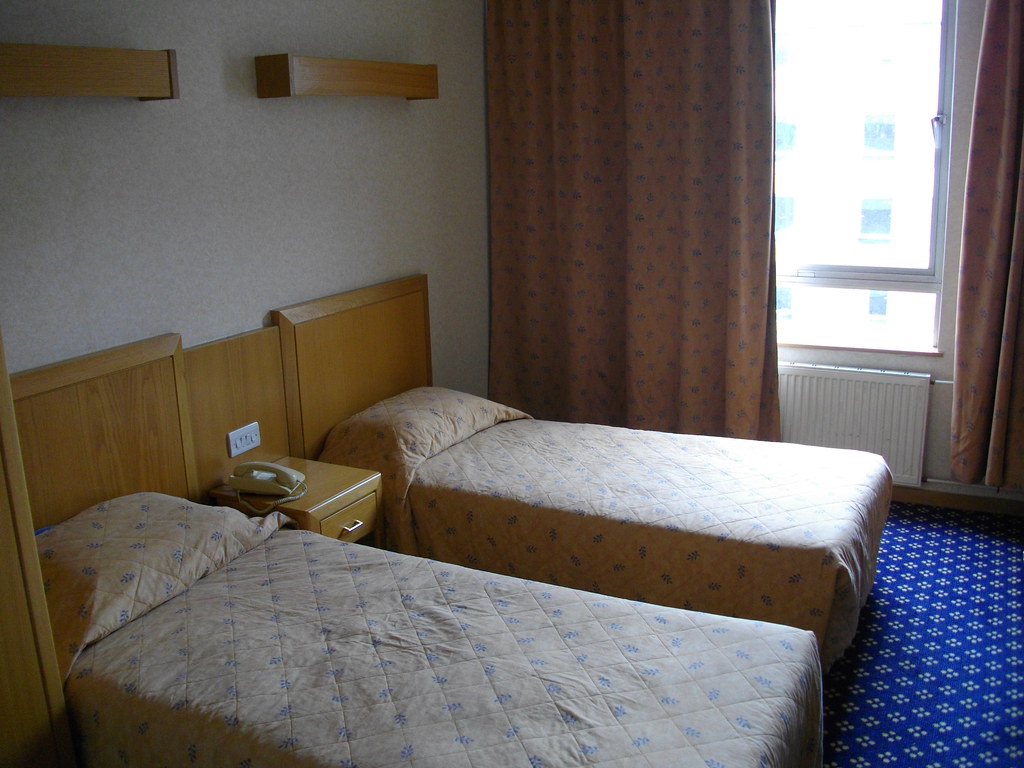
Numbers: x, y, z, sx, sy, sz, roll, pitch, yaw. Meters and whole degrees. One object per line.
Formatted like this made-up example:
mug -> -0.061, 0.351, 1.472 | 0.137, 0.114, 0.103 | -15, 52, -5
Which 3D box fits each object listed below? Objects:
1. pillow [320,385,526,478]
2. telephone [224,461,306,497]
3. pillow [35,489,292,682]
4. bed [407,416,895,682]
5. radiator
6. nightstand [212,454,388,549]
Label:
pillow -> -0.547, 0.107, 4.332 | 0.823, 0.395, 1.026 | 13, 15, 34
telephone -> -1.102, 0.418, 3.589 | 0.234, 0.089, 0.176 | 4, 9, 4
pillow -> -1.287, 0.582, 2.993 | 0.826, 0.461, 0.667 | 14, 17, 37
bed -> 0.585, 0.585, 3.583 | 1.641, 0.424, 1.100 | 8, 25, 26
radiator -> 2.081, 0.158, 4.831 | 0.836, 0.739, 0.526 | 4, 15, 18
nightstand -> -0.985, 0.454, 3.803 | 0.652, 0.430, 0.688 | 15, 14, 24
